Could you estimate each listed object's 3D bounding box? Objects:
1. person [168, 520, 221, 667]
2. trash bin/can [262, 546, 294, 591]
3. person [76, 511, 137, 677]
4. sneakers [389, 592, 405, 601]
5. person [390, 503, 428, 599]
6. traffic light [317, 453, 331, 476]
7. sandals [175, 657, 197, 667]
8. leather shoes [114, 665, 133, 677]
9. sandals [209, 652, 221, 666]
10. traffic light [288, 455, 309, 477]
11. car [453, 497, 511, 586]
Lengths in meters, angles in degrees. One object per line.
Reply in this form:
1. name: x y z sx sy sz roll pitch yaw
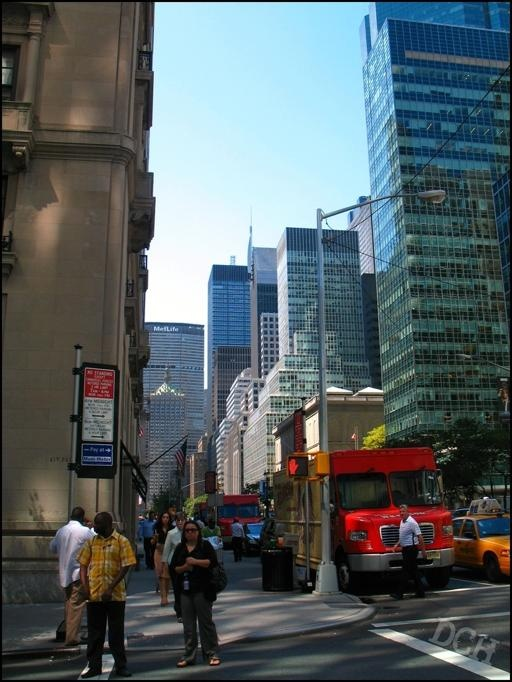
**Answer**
1. person: -0.667 2.805 8.075 0.521 1.520 0.633 -1 -11 -8
2. trash bin/can: 0.478 5.091 16.142 0.786 0.901 0.797 -13 -17 42
3. person: -1.556 2.635 7.549 0.562 1.626 0.729 0 -12 -14
4. sneakers: 2.558 4.612 13.040 0.207 0.155 0.591 -5 -12 10
5. person: 2.796 3.866 13.265 0.556 1.609 0.683 -5 -11 13
6. traffic light: 1.354 2.498 14.584 0.250 0.488 0.595 -3 -11 0
7. sandals: -0.747 3.460 7.766 0.224 0.098 0.075 17 -29 -25
8. leather shoes: -1.320 3.293 7.227 0.095 0.126 0.280 8 -17 -40
9. sandals: -0.444 3.436 7.783 0.104 0.072 0.292 0 -16 0
10. traffic light: 0.874 2.645 15.170 0.422 0.461 0.366 -5 -11 8
11. car: 4.950 4.369 15.761 1.237 1.662 4.067 -6 -12 13
